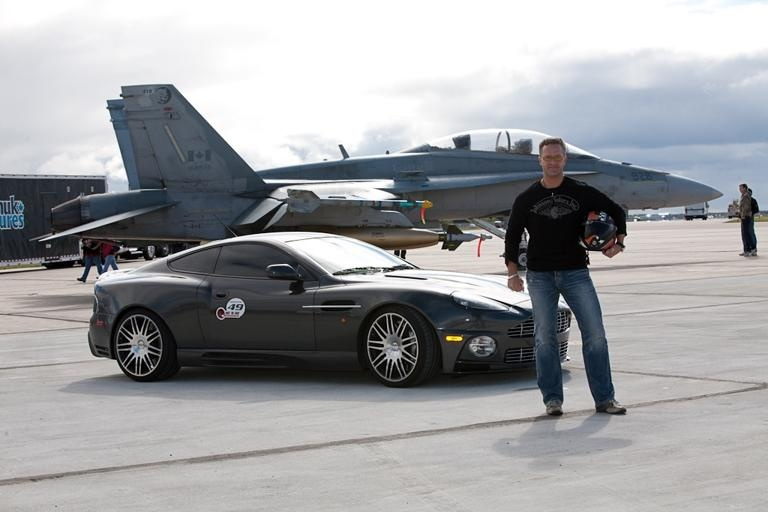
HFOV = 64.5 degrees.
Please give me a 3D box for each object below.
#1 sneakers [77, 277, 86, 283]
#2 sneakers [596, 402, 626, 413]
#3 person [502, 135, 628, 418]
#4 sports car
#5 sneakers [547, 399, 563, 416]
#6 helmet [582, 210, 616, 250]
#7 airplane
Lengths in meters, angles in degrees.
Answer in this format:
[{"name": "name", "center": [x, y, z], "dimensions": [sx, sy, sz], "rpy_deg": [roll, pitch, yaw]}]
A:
[{"name": "sneakers", "center": [-11.454, 0.909, 23.120], "dimensions": [0.511, 0.172, 0.163], "rpy_deg": [16, 21, 27]}, {"name": "sneakers", "center": [2.053, 1.377, 5.520], "dimensions": [0.302, 0.081, 0.100], "rpy_deg": [-4, -5, 25]}, {"name": "person", "center": [1.706, 0.150, 5.652], "dimensions": [1.089, 2.568, 0.567], "rpy_deg": [-5, 3, 8]}, {"name": "sports car", "center": [-0.736, 0.684, 7.613], "dimensions": [5.611, 1.098, 2.263], "rpy_deg": [-2, -1, 14]}, {"name": "sneakers", "center": [1.550, 1.374, 5.514], "dimensions": [0.147, 0.136, 0.144], "rpy_deg": [-3, 2, 12]}, {"name": "helmet", "center": [1.933, -0.249, 5.648], "dimensions": [0.419, 0.320, 0.448], "rpy_deg": [-2, 7, 10]}, {"name": "airplane", "center": [-0.970, -2.330, 21.453], "dimensions": [17.015, 2.975, 10.281], "rpy_deg": [-1, 3, -9]}]
